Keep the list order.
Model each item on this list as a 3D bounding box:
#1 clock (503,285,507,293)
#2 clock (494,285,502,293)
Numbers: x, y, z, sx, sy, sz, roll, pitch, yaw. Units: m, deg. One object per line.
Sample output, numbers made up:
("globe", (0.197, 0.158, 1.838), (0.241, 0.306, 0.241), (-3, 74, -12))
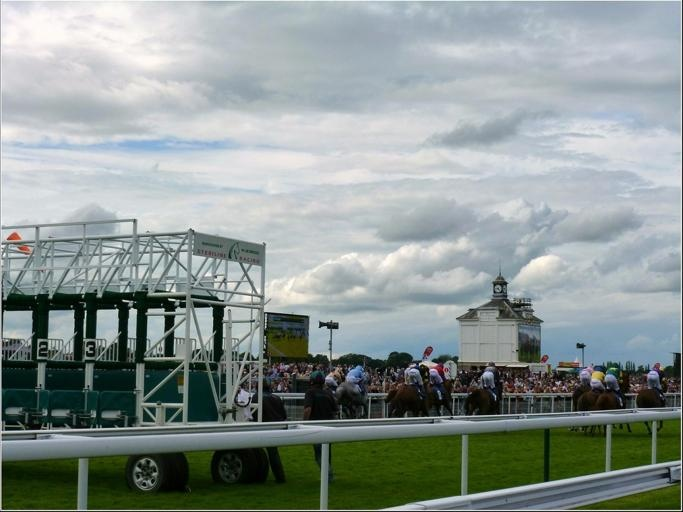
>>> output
("clock", (14.548, 2.878, 112.592), (0.238, 0.546, 0.438), (1, -4, -2))
("clock", (13.923, 2.849, 112.459), (0.772, 0.660, 0.176), (-8, -4, 8))
